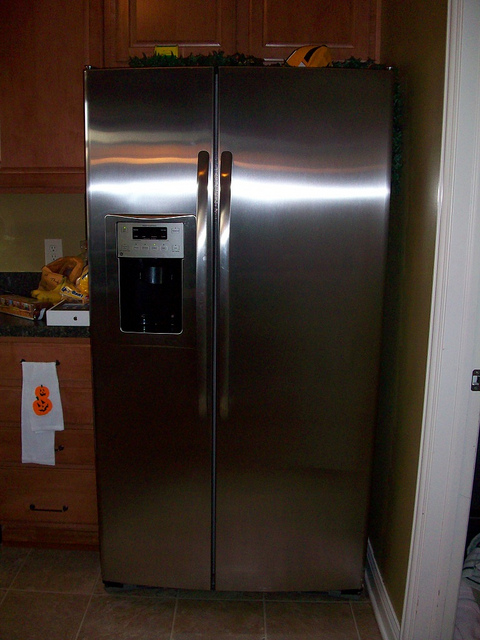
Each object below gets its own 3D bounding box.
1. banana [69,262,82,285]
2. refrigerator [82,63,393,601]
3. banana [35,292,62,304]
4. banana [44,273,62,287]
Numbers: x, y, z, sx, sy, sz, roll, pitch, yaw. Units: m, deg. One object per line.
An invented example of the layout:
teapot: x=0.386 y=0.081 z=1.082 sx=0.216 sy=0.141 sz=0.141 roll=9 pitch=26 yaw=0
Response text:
banana: x=-0.631 y=-0.179 z=2.122 sx=0.016 sy=0.077 sz=0.047 roll=16 pitch=-17 yaw=-24
refrigerator: x=-0.065 y=-0.001 z=1.861 sx=0.757 sy=1.766 sz=0.692 roll=4 pitch=22 yaw=2
banana: x=-0.741 y=-0.089 z=2.125 sx=0.142 sy=0.039 sz=0.038 roll=9 pitch=14 yaw=31
banana: x=-0.723 y=-0.156 z=2.133 sx=0.064 sy=0.049 sz=0.016 roll=19 pitch=19 yaw=38
